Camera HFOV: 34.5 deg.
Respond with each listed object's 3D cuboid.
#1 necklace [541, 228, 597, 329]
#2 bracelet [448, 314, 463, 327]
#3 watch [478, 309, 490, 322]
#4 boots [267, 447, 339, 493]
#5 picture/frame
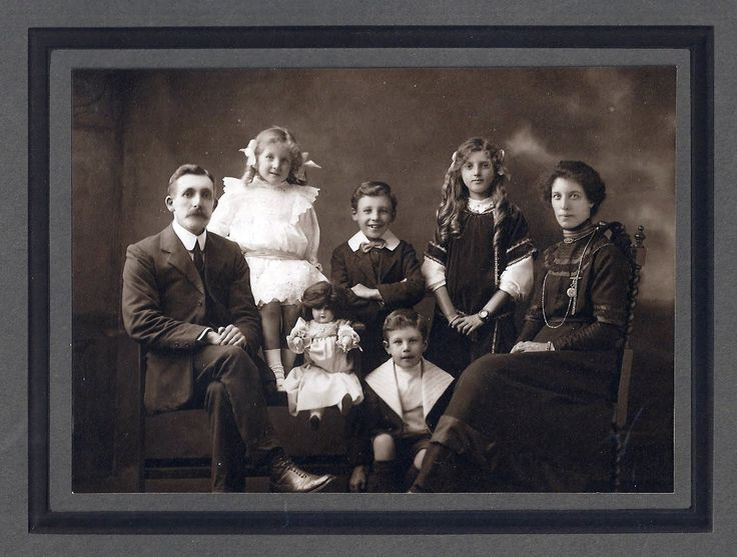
[{"bbox_3d":[0.858,0.017,5.066,0.120,0.401,0.415,4,-2,14],"label":"necklace"},{"bbox_3d":[0.368,0.179,5.069,0.012,0.046,0.048,30,3,-44],"label":"bracelet"},{"bbox_3d":[0.488,0.158,5.068,0.056,0.034,0.057,-7,-4,0],"label":"watch"},{"bbox_3d":[-0.303,0.819,5.038,0.347,0.191,0.122,-6,0,36],"label":"boots"},{"bbox_3d":[-0.029,0.002,5.038,2.305,1.474,0.053,0,3,2],"label":"picture/frame"}]
